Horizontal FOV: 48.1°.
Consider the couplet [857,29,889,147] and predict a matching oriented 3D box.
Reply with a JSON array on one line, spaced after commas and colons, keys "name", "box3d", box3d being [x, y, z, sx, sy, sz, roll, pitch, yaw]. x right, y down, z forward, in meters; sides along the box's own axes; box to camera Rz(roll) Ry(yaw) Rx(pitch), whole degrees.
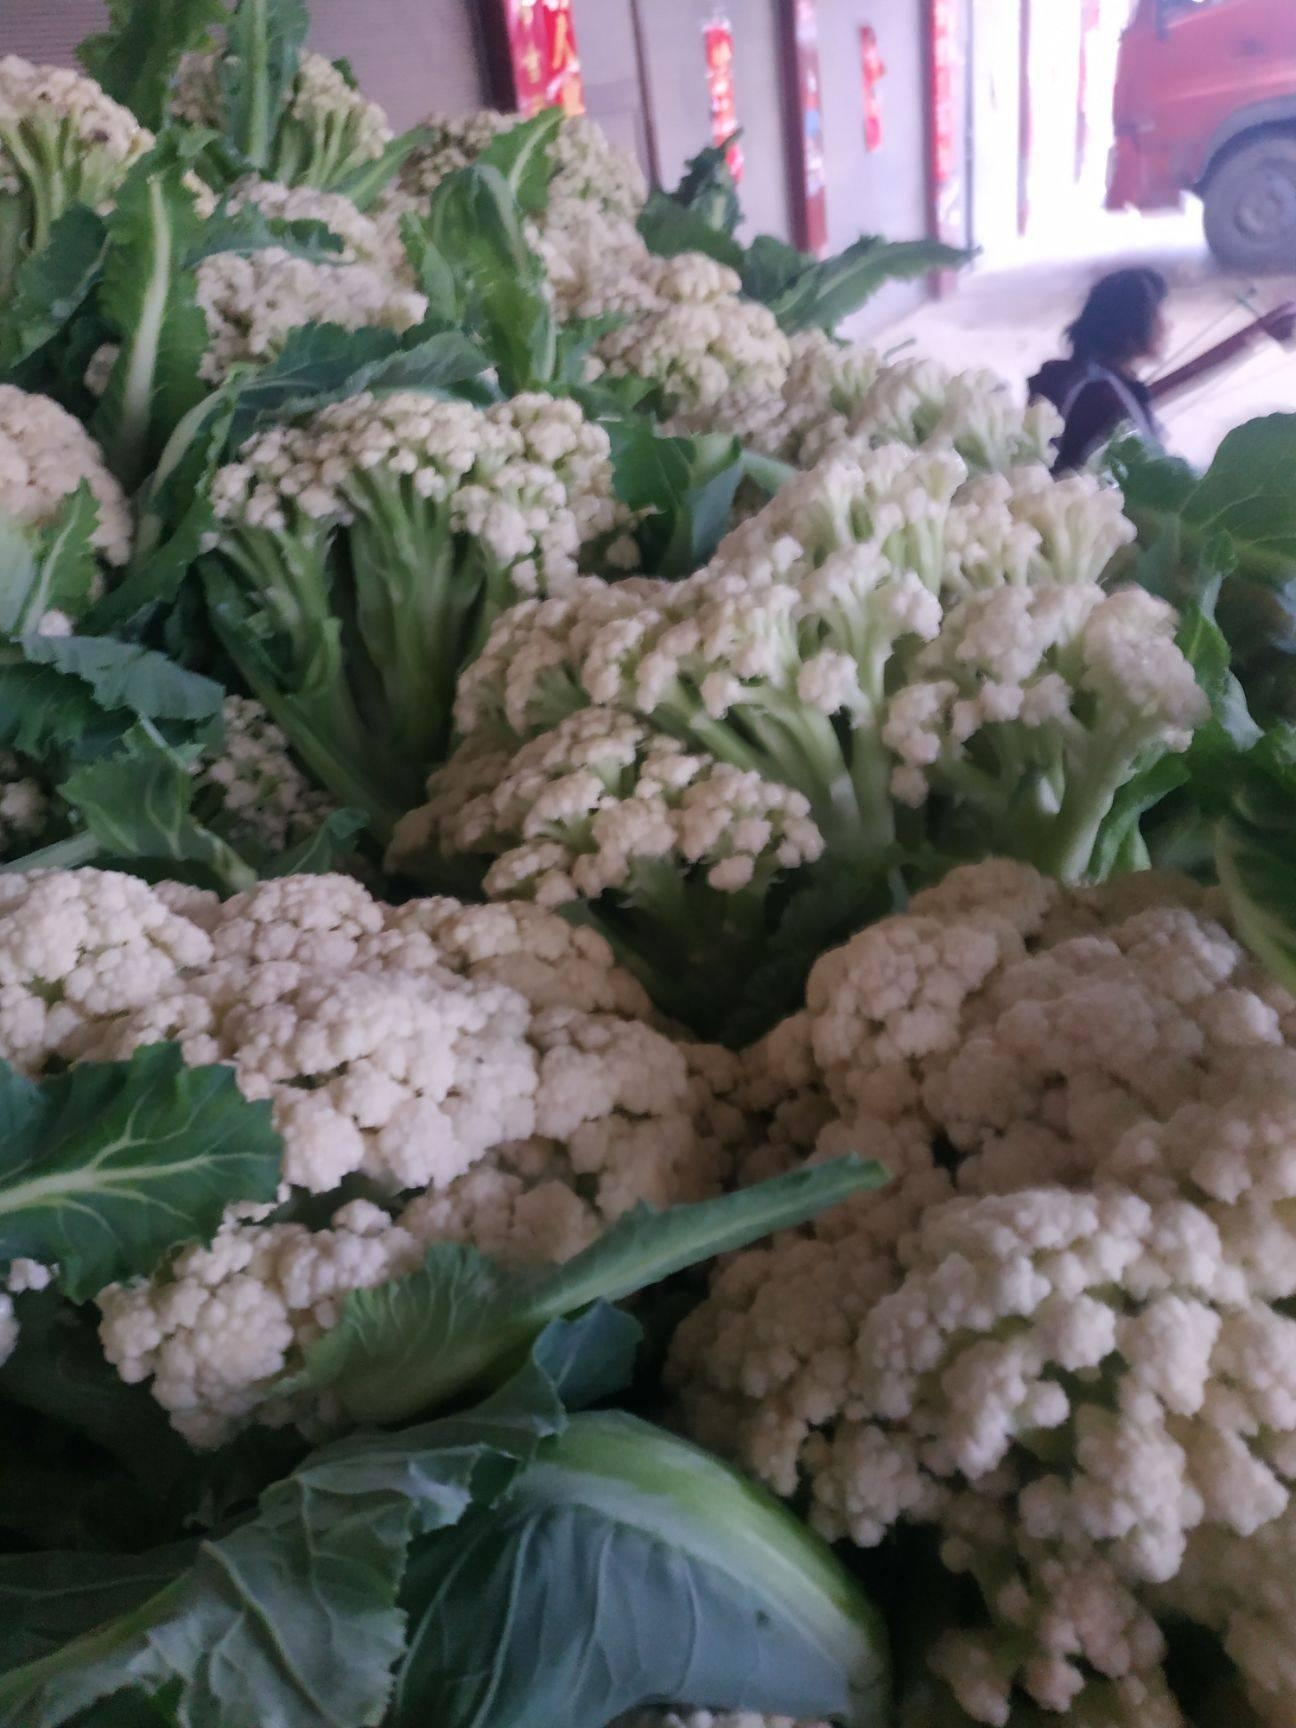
[{"name": "couplet", "box3d": [0.778, -2.733, 5.154, 0.115, 0.442, 0.108, -13, 29, -15]}]
